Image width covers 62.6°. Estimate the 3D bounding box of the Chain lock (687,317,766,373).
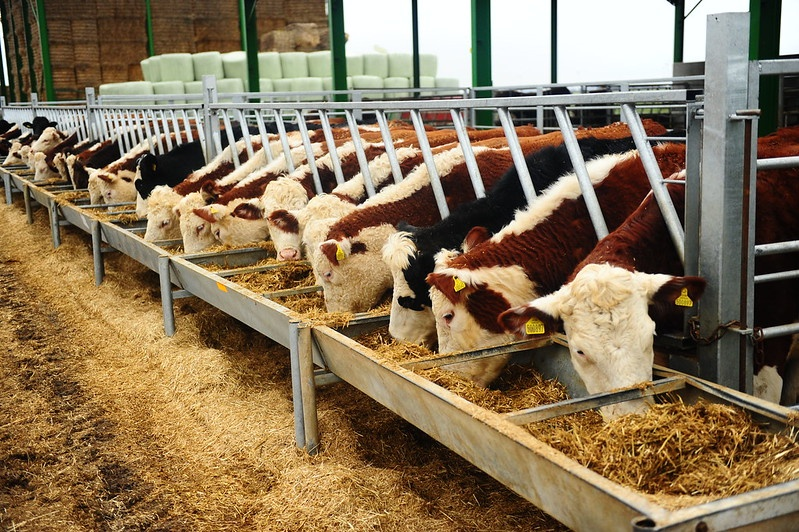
[{"bbox_3d":[1.760,0.365,3.449,0.393,0.250,0.121,4,14,44],"label":"Chain lock"}]
